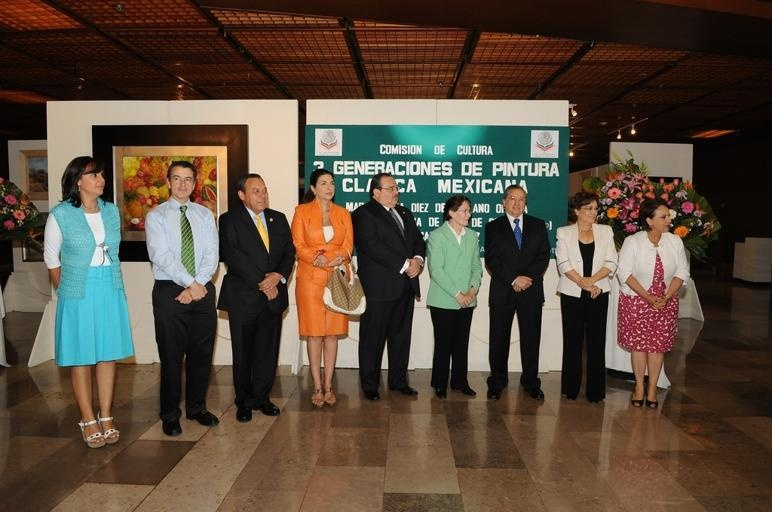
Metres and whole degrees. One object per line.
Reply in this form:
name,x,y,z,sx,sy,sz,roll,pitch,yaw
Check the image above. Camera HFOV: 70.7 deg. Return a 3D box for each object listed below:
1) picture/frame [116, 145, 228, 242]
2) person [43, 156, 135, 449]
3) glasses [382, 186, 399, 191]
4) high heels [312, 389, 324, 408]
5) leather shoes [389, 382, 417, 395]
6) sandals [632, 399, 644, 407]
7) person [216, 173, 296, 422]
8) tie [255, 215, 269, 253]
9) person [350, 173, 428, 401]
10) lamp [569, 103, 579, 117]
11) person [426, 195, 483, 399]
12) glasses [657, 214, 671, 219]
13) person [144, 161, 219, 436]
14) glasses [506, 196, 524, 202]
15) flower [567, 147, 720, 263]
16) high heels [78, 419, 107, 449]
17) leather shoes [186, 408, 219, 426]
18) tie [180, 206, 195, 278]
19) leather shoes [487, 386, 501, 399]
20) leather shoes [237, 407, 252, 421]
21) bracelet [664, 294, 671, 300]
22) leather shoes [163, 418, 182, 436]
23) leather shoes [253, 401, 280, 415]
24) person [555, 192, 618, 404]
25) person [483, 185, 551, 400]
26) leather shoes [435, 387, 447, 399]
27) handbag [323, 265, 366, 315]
picture/frame,-2.336,-0.748,6.041,1.278,1.007,0.046,0,1,-2
person,-2.656,0.421,4.875,0.617,2.557,0.568,-6,14,-27
glasses,0.035,-0.705,5.781,0.093,0.028,0.097,0,3,38
high heels,-0.709,1.498,5.678,0.130,0.135,0.347,1,-9,-5
leather shoes,0.199,1.467,6.010,0.347,0.142,0.127,0,-4,26
sandals,2.637,1.556,5.725,0.112,0.060,0.039,1,-14,26
person,-1.273,0.407,5.420,0.749,2.369,0.606,-5,13,-22
tie,-1.235,-0.215,5.451,0.129,0.370,0.018,-18,-1,-22
person,0.029,0.337,5.853,0.759,2.368,0.561,-1,12,-8
lamp,3.858,-3.000,11.221,0.191,0.290,2.773,4,12,18
person,0.738,0.462,5.938,0.590,2.175,0.586,0,12,-1
glasses,2.822,-0.401,5.560,0.140,0.064,0.046,-5,13,-25
person,-1.871,0.394,5.123,0.633,2.499,0.578,-5,13,-22
glasses,1.372,-0.600,5.787,0.173,0.042,0.060,3,12,11
flower,3.074,-0.558,6.868,1.261,1.065,1.279,-4,9,-33
high heels,-2.639,1.613,4.907,0.134,0.131,0.360,1,2,-42
leather shoes,-1.777,1.560,5.340,0.341,0.121,0.131,3,5,23
tie,-1.853,-0.138,5.084,0.118,0.625,0.199,-4,13,-19
leather shoes,1.145,1.471,5.913,0.182,0.165,0.107,1,-9,4
leather shoes,-1.394,1.567,5.357,0.143,0.097,0.139,-2,12,-13
bracelet,2.880,0.424,5.599,0.047,0.030,0.081,-3,-16,7
leather shoes,-2.011,1.613,5.112,0.175,0.105,0.195,-4,13,-19
leather shoes,-1.210,1.539,5.516,0.263,0.106,0.117,2,6,21
person,2.096,0.441,5.817,0.616,2.208,0.437,4,13,18
person,1.394,0.551,5.898,0.691,1.949,0.591,2,12,5
leather shoes,0.592,1.487,5.893,0.095,0.041,0.124,2,15,4
handbag,-0.442,0.364,5.507,0.390,0.504,0.149,20,-32,-30
